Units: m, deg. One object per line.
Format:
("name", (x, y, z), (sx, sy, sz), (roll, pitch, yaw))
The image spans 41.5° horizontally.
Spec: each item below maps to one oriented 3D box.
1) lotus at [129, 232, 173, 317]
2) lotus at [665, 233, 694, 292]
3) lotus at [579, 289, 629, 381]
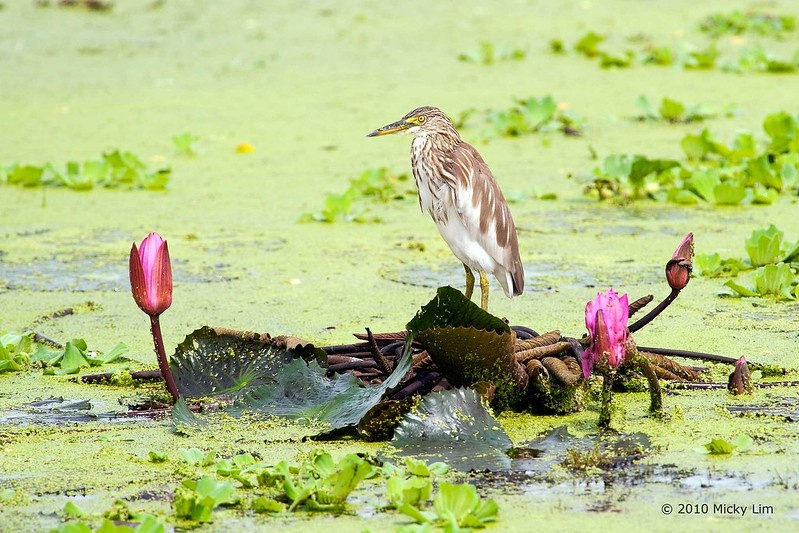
("lotus", (-1.275, 0.080, 5.450), (0.227, 0.470, 0.232), (5, 6, 22))
("lotus", (1.505, -0.028, 5.686), (0.133, 0.362, 0.319), (2, 13, 14))
("lotus", (1.009, 0.345, 5.215), (0.212, 0.504, 0.223), (0, 14, 9))
